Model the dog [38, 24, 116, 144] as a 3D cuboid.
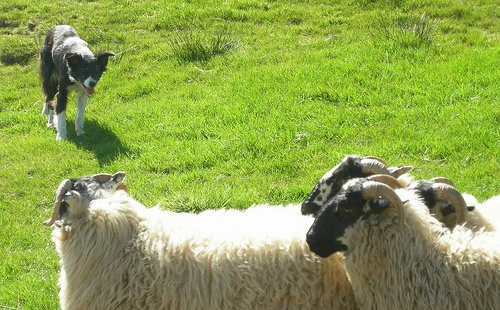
[{"bbox_3d":[-3.538,-1.447,16.243,1.265,1.844,1.791,-18,26,-30],"label":"dog"}]
